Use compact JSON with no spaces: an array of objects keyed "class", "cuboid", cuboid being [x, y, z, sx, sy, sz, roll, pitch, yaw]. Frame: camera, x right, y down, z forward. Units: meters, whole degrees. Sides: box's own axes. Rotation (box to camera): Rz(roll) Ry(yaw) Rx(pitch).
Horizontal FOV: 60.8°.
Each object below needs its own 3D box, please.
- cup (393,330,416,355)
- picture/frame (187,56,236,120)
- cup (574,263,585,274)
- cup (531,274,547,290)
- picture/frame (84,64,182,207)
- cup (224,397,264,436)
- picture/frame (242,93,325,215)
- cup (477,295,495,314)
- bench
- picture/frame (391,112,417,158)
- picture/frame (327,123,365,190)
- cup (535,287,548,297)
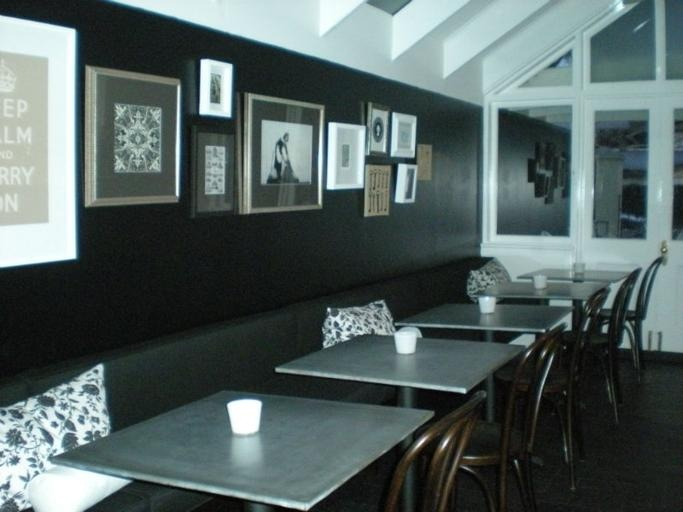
[{"class":"cup","cuboid":[0.295,0.405,2.721,0.099,0.080,0.096,-1,-1,0]},{"class":"picture/frame","cuboid":[-0.654,-0.835,2.885,0.106,0.342,0.326,5,6,29]},{"class":"cup","cuboid":[2.092,0.104,5.106,0.079,0.078,0.094,0,-2,-42]},{"class":"cup","cuboid":[1.491,0.201,4.388,0.109,0.096,0.095,1,3,20]},{"class":"picture/frame","cuboid":[-0.926,-0.536,2.546,0.070,0.728,0.641,4,4,34]},{"class":"cup","cuboid":[-0.317,0.506,1.846,0.098,0.085,0.112,0,-6,-3]},{"class":"picture/frame","cuboid":[-0.354,-0.602,3.377,0.051,0.669,0.763,3,2,30]},{"class":"cup","cuboid":[0.889,0.301,3.580,0.102,0.085,0.096,0,0,0]},{"class":"bench","cuboid":[-0.179,0.735,3.275,0.556,0.902,3.125,3,8,34]},{"class":"picture/frame","cuboid":[0.483,-0.963,4.603,0.027,0.353,0.387,1,2,33]},{"class":"picture/frame","cuboid":[0.019,-0.679,3.901,0.057,0.456,0.460,5,5,31]},{"class":"cup","cuboid":[1.451,0.267,4.221,0.076,0.053,0.075,2,-4,0]}]
